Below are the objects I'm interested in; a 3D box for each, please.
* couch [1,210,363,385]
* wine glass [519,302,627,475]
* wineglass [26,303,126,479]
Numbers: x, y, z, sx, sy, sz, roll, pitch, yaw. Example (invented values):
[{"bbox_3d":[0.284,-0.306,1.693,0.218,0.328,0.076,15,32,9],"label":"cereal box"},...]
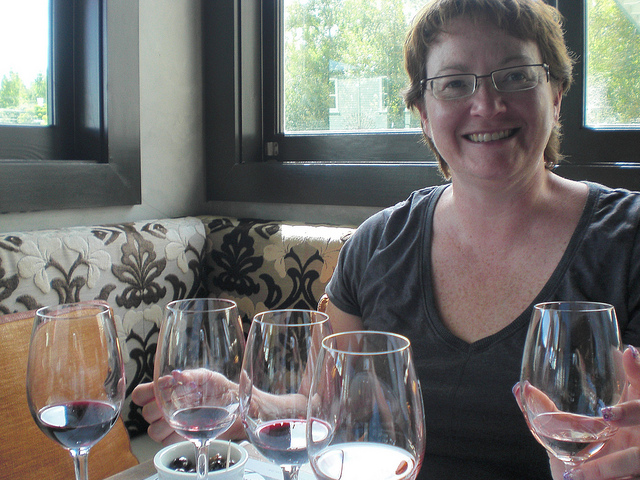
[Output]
[{"bbox_3d":[-0.437,0.038,1.763,1.063,0.456,0.445,0,7,-38],"label":"couch"},{"bbox_3d":[0.336,0.191,0.882,0.109,0.244,0.123,4,7,-1],"label":"wine glass"},{"bbox_3d":[-0.351,0.223,0.903,0.132,0.232,0.089,-7,9,-24],"label":"wineglass"}]
